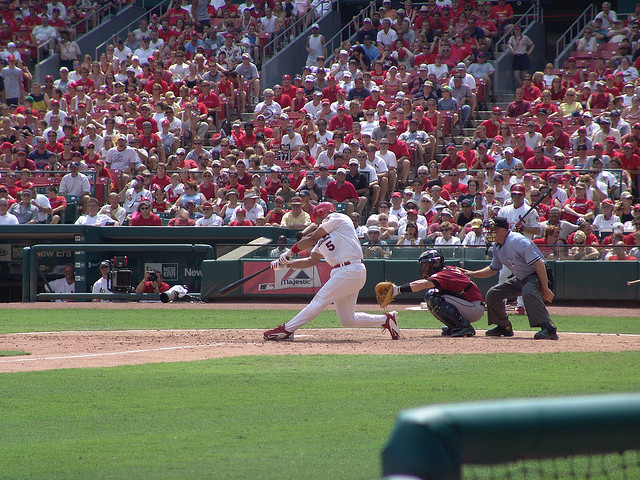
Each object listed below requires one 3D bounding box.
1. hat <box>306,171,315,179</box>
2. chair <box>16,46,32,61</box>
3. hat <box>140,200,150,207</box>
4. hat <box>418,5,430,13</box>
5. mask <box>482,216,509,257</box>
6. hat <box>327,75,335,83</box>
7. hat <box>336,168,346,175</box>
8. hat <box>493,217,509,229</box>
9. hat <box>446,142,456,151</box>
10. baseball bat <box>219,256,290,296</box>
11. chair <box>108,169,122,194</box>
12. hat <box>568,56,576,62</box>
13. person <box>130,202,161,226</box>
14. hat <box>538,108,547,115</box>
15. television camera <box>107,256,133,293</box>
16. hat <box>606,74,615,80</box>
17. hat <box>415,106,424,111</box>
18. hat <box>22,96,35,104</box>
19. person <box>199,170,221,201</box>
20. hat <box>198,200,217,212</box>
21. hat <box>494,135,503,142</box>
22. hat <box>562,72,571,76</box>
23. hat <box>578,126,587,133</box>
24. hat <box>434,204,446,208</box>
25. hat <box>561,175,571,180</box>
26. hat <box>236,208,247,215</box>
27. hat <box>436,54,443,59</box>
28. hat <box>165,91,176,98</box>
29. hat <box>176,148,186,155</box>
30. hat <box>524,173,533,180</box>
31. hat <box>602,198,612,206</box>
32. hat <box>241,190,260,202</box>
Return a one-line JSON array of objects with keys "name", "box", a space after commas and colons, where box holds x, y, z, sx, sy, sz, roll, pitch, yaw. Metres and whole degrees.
[{"name": "hat", "box": [-0.181, -1.441, 32.763, 0.192, 0.126, 0.305, 0, -8, 5]}, {"name": "chair", "box": [-8.509, -5.351, 42.075, 0.525, 0.484, 0.372, -1, -3, -7]}, {"name": "hat", "box": [-3.935, -0.808, 32.788, 0.201, 0.150, 0.237, 4, -6, -24]}, {"name": "hat", "box": [2.725, -6.065, 38.781, 0.450, 0.169, 0.577, 0, -2, 3]}, {"name": "mask", "box": [3.123, -0.031, 26.306, 0.527, 0.707, 0.421, 5, -8, -5]}, {"name": "hat", "box": [0.231, -3.924, 36.018, 0.243, 0.129, 0.336, 0, 2, 6]}, {"name": "hat", "box": [0.452, -1.502, 32.367, 0.184, 0.186, 0.465, 2, -6, 0]}, {"name": "hat", "box": [3.235, -0.285, 26.204, 0.177, 0.211, 0.389, -2, -7, 36]}, {"name": "hat", "box": [2.924, -2.116, 33.114, 0.163, 0.120, 0.254, -2, -5, 14]}, {"name": "baseball bat", "box": [-1.393, 0.757, 30.977, 1.568, 0.166, 0.183, -26, 27, -4]}, {"name": "chair", "box": [-4.841, -1.405, 34.533, 0.388, 0.501, 0.475, -3, -6, -2]}, {"name": "hat", "box": [6.071, -4.388, 35.594, 0.177, 0.123, 0.247, -3, -11, 20]}, {"name": "person", "box": [-3.929, -0.476, 32.936, 0.803, 0.737, 0.460, -1, -3, -7]}, {"name": "hat", "box": [4.993, -2.898, 33.265, 0.135, 0.202, 0.211, 4, 4, 21]}, {"name": "television camera", "box": [-4.396, 0.795, 32.127, 0.576, 0.772, 0.535, 1, -6, 4]}, {"name": "hat", "box": [6.813, -3.817, 34.584, 0.230, 0.109, 0.351, 1, 0, 10]}, {"name": "hat", "box": [2.270, -3.025, 34.137, 0.181, 0.147, 0.419, 1, -6, 2]}, {"name": "hat", "box": [-7.495, -3.581, 37.558, 0.269, 0.090, 0.187, 20, 3, 11]}, {"name": "person", "box": [-2.598, -1.161, 33.471, 0.592, 0.752, 0.502, -2, 6, 8]}, {"name": "hat", "box": [-2.538, -0.743, 32.902, 0.420, 0.310, 0.663, 2, -6, -6]}, {"name": "hat", "box": [4.017, -2.275, 33.284, 0.183, 0.178, 0.264, 1, -6, 5]}, {"name": "hat", "box": [5.904, -3.977, 35.367, 0.196, 0.126, 0.284, 1, -6, 11]}, {"name": "hat", "box": [5.828, -2.443, 32.794, 0.204, 0.094, 0.301, -6, -8, 18]}, {"name": "hat", "box": [2.576, -0.712, 31.770, 0.183, 0.089, 0.177, 2, -6, -1]}, {"name": "hat", "box": [5.260, -1.329, 31.667, 0.200, 0.097, 0.060, -2, -6, 30]}, {"name": "hat", "box": [-1.749, -0.605, 32.390, 0.192, 0.129, 0.301, 4, 0, -2]}, {"name": "hat", "box": [2.944, -4.549, 36.571, 0.118, 0.082, 0.112, 0, -5, 1]}, {"name": "hat", "box": [-3.762, -3.593, 36.597, 0.275, 0.155, 0.378, 4, 6, 3]}, {"name": "hat", "box": [-3.322, -2.065, 34.675, 0.238, 0.100, 0.324, 1, -4, -6]}, {"name": "hat", "box": [4.469, -1.364, 31.755, 0.154, 0.108, 0.247, -4, -16, 15]}, {"name": "hat", "box": [6.076, -0.800, 31.209, 0.196, 0.167, 0.302, 1, -6, 10]}, {"name": "hat", "box": [-1.561, -0.956, 32.612, 0.322, 0.272, 0.244, 2, -6, 0]}]
